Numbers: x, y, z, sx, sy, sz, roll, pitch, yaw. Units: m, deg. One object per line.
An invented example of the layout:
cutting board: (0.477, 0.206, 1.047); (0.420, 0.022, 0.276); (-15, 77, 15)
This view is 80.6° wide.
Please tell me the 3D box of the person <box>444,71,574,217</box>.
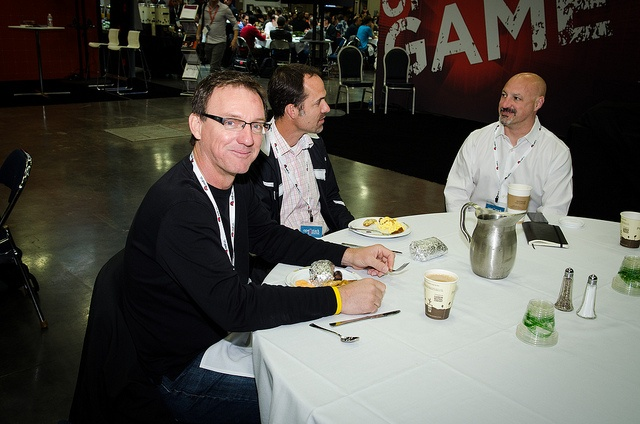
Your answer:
person: (1.408, -0.402, 2.805); (0.890, 1.221, 0.711); (18, 36, 39)

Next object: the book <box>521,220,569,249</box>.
book: (1.129, 0.095, 1.863); (0.169, 0.215, 0.036); (10, 58, 47)

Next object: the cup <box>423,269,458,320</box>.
cup: (0.421, 0.307, 1.308); (0.131, 0.135, 0.127); (5, 0, 0)

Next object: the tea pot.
tea pot: (0.680, 0.098, 1.615); (0.340, 0.344, 0.232); (5, 17, 22)

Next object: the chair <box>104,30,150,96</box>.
chair: (-5.756, -4.481, 10.746); (0.961, 1.637, 0.963); (14, 25, 23)

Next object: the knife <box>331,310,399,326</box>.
knife: (0.147, 0.372, 1.278); (0.181, 0.012, 0.019); (-9, 25, -18)

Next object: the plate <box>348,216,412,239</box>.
plate: (0.302, 0.082, 1.864); (0.170, 0.024, 0.163); (-2, 22, -18)

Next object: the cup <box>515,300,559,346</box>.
cup: (0.725, 0.381, 1.231); (0.143, 0.142, 0.151); (0, 3, 0)

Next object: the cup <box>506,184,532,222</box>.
cup: (1.003, -0.070, 1.883); (0.118, 0.129, 0.116); (-1, 15, 0)
